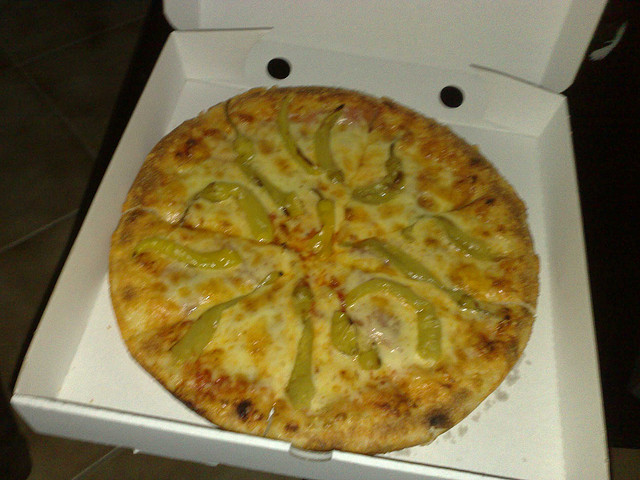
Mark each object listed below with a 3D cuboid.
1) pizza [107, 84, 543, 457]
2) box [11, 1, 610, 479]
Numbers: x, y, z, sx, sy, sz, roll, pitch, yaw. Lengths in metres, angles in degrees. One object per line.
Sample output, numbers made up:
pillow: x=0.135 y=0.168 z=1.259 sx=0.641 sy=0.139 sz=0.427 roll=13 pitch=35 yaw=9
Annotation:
pizza: x=0.013 y=0.026 z=1.292 sx=0.820 sy=0.158 sz=0.745 roll=17 pitch=61 yaw=13
box: x=0.055 y=0.043 z=1.619 sx=1.254 sy=0.684 sz=0.975 roll=7 pitch=63 yaw=1
